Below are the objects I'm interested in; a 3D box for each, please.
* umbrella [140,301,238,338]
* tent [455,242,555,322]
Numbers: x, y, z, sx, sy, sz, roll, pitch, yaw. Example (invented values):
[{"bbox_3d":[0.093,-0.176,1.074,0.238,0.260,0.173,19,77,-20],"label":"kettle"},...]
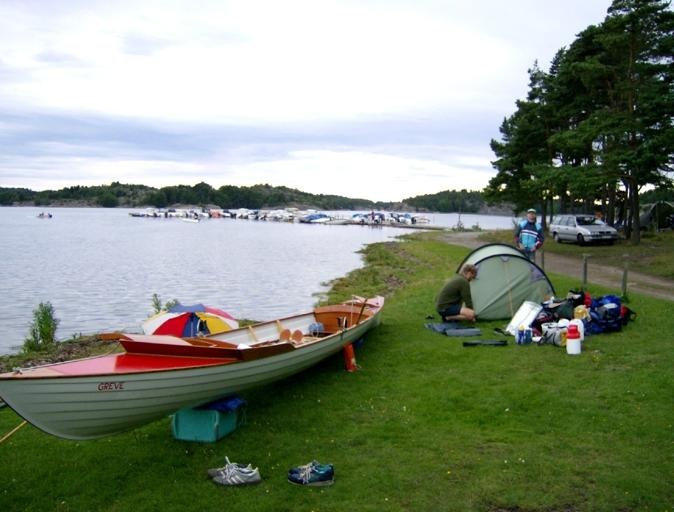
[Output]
[{"bbox_3d":[-4.064,1.841,16.033,2.385,0.775,2.061,3,8,24],"label":"umbrella"},{"bbox_3d":[5.326,0.855,19.246,3.273,2.034,2.556,2,9,6],"label":"tent"}]
